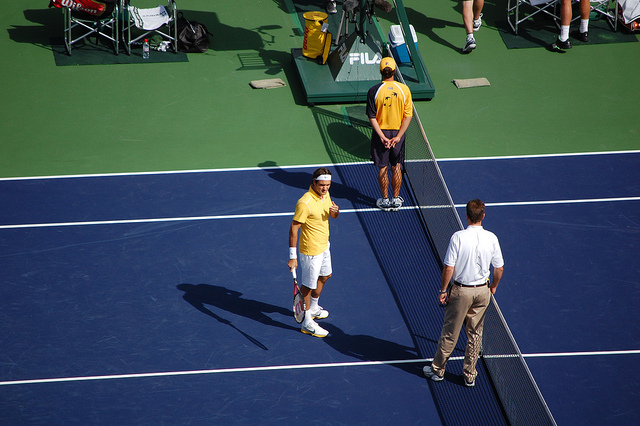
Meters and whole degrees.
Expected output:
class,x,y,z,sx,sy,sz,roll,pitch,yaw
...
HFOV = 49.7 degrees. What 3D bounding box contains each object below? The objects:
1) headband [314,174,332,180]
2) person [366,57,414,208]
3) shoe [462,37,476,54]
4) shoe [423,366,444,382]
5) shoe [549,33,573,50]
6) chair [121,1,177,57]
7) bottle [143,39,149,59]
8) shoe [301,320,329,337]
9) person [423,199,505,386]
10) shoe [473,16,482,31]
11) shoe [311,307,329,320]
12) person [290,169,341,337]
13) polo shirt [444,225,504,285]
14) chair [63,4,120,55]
class,x,y,z,sx,sy,sz,roll,pitch,yaw
headband,0.072,-0.615,11.988,0.283,0.103,0.157,-5,22,-20
person,1.529,-1.643,14.598,0.773,3.036,1.059,14,22,31
shoe,4.070,-4.479,18.773,0.179,0.271,0.539,0,8,-3
shoe,2.000,2.821,12.276,0.160,0.208,0.401,-17,35,-29
shoe,6.607,-4.633,18.926,0.725,0.581,0.307,1,23,16
chair,-4.556,-4.820,18.542,1.134,2.364,1.233,-5,14,-26
bottle,-4.601,-4.306,18.385,0.158,0.430,0.394,-3,20,-14
shoe,-0.079,2.094,12.734,0.447,0.239,0.244,13,23,12
person,2.472,1.434,11.767,1.055,3.279,0.414,5,18,8
shoe,4.418,-5.294,19.370,0.139,0.479,0.194,2,-20,12
shoe,0.021,1.882,12.945,0.364,0.176,0.146,-4,41,-10
person,-0.063,0.885,12.756,0.902,3.208,1.285,9,38,15
polo shirt,2.568,0.699,11.529,0.949,0.943,0.290,1,18,-5
chair,-6.070,-5.114,18.484,1.439,1.613,1.183,-2,7,-24
